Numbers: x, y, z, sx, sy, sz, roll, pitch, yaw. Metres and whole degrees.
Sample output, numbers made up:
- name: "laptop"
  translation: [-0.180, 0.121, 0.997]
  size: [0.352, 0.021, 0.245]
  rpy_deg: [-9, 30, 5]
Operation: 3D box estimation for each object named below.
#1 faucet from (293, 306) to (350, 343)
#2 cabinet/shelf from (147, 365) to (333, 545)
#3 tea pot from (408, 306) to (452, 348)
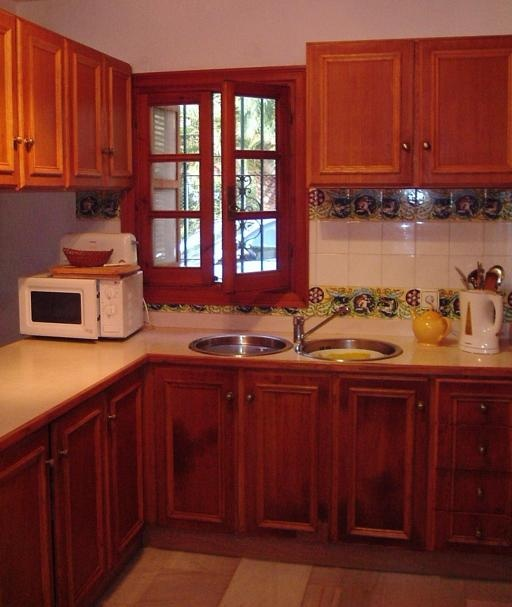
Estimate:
- name: "faucet"
  translation: [0.307, 0.081, 2.615]
  size: [0.226, 0.163, 0.321]
  rpy_deg: [3, 8, 17]
- name: "cabinet/shelf"
  translation: [-0.039, 0.579, 2.318]
  size: [0.799, 0.656, 0.307]
  rpy_deg: [1, 2, 9]
- name: "tea pot"
  translation: [0.766, 0.115, 2.519]
  size: [0.178, 0.168, 0.137]
  rpy_deg: [0, 1, 24]
